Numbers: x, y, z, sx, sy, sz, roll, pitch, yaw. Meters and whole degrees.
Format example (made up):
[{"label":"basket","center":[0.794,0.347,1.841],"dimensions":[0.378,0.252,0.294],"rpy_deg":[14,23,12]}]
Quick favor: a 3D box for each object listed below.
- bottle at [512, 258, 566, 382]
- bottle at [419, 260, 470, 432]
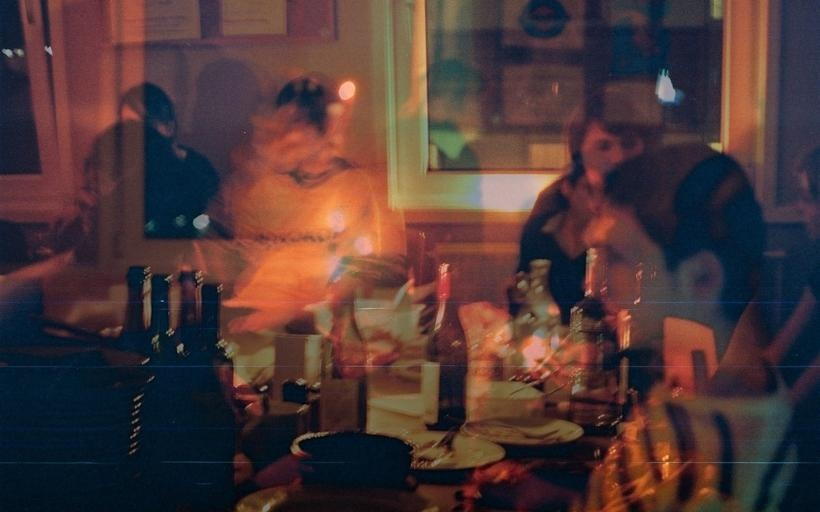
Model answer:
[{"label":"bottle","center":[0.568,0.266,3.667],"dimensions":[0.302,0.441,0.176],"rpy_deg":[4,5,22]},{"label":"bottle","center":[0.152,0.370,3.620],"dimensions":[0.181,0.671,0.084],"rpy_deg":[3,5,1]}]
